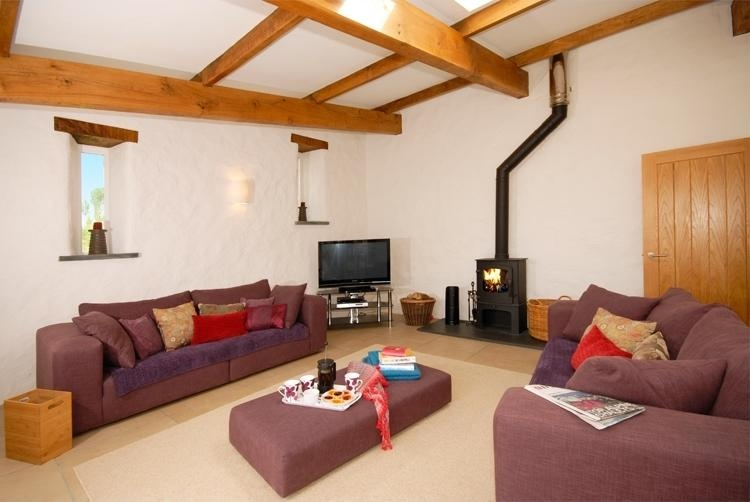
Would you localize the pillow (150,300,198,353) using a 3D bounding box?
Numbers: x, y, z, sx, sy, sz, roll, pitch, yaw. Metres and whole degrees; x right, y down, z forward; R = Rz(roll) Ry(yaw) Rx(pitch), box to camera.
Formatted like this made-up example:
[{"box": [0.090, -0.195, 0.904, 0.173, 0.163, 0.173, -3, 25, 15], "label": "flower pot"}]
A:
[{"box": [-2.146, 0.817, 5.199, 0.142, 0.415, 0.452, -25, -8, 33], "label": "pillow"}]

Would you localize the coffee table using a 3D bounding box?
[{"box": [-0.309, 1.538, 4.262, 1.642, 0.594, 0.684, -5, 5, -33], "label": "coffee table"}]

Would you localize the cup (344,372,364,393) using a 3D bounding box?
[{"box": [-0.187, 1.169, 4.288, 0.177, 0.158, 0.115, 0, -7, 6], "label": "cup"}]

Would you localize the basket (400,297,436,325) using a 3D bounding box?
[{"box": [0.635, 0.883, 7.251, 0.436, 0.289, 0.426, 1, -1, 5], "label": "basket"}]

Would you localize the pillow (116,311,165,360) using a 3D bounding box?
[{"box": [-2.369, 0.877, 4.958, 0.130, 0.382, 0.412, -29, -6, 19], "label": "pillow"}]

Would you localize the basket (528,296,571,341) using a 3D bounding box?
[{"box": [2.158, 0.865, 6.189, 0.578, 0.604, 0.661, 2, 2, 20], "label": "basket"}]

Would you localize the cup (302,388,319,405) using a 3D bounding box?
[{"box": [-0.542, 1.247, 4.120, 0.103, 0.082, 0.127, -1, -5, 20], "label": "cup"}]

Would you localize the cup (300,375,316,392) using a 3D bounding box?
[{"box": [-0.579, 1.176, 4.285, 0.135, 0.098, 0.124, -1, -2, 0], "label": "cup"}]
